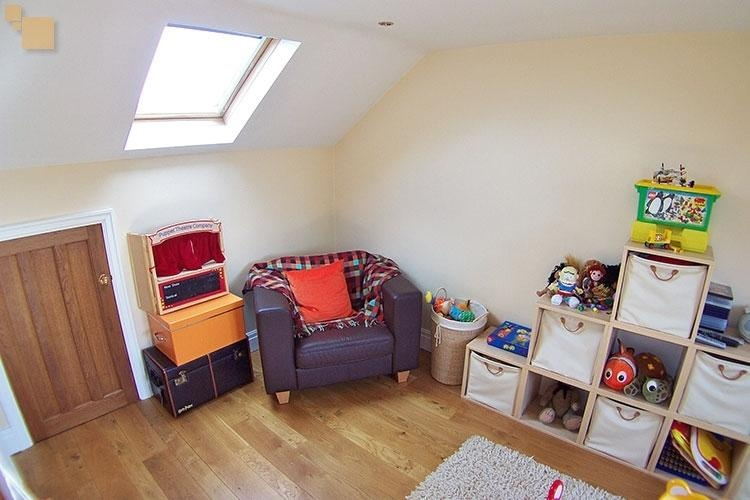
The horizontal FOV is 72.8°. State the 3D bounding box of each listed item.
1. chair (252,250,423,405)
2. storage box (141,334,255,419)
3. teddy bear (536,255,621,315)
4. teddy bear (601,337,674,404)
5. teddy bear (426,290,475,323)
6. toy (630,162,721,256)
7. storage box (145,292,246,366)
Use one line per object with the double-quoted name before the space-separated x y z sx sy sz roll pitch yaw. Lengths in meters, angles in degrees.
"chair" -0.345 0.582 4.113 1.286 0.926 0.954 -7 20 -22
"storage box" -1.304 0.882 3.763 0.768 0.500 0.491 -20 22 -38
"teddy bear" 1.397 0.242 3.434 0.558 0.299 0.315 10 31 28
"teddy bear" 1.667 0.814 3.347 0.320 0.191 0.432 -32 36 -29
"teddy bear" 0.585 0.458 3.965 0.250 0.169 0.251 3 10 -2
"toy" 1.836 -0.263 3.141 0.437 0.508 0.311 8 14 31
"storage box" -1.358 0.441 3.715 0.453 0.329 0.629 16 26 39
